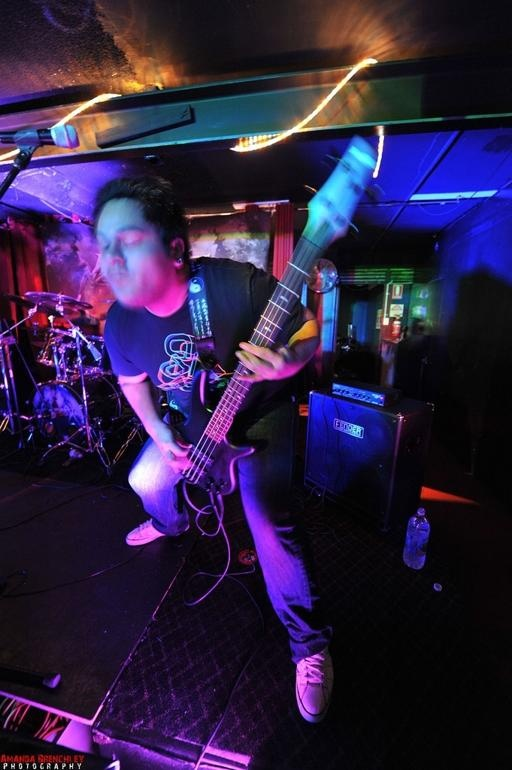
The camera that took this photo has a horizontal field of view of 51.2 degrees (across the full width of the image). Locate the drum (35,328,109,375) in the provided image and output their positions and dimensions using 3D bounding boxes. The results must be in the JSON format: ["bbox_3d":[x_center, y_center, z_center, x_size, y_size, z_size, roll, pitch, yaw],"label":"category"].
[{"bbox_3d":[-1.540,-0.284,4.580,0.583,0.443,0.189,-7,-1,-44],"label":"drum"}]

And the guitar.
[{"bbox_3d":[0.154,-0.077,2.151,0.498,1.739,0.208,39,27,32],"label":"guitar"}]

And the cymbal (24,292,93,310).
[{"bbox_3d":[-1.590,-0.669,4.244,0.314,0.075,0.311,0,1,-44],"label":"cymbal"}]

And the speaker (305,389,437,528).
[{"bbox_3d":[0.635,0.425,3.038,0.396,0.708,0.691,-1,6,-38],"label":"speaker"}]

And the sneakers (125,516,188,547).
[{"bbox_3d":[-0.522,0.790,2.846,0.373,0.154,0.140,-1,-4,-15],"label":"sneakers"}]

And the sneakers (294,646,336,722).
[{"bbox_3d":[0.223,1.121,2.008,0.141,0.218,0.149,-2,16,-4],"label":"sneakers"}]

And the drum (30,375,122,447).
[{"bbox_3d":[-1.448,0.135,4.450,0.622,0.616,0.581,2,14,29],"label":"drum"}]

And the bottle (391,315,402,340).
[{"bbox_3d":[1.712,-0.677,6.462,0.086,0.376,0.095,11,7,43],"label":"bottle"}]
